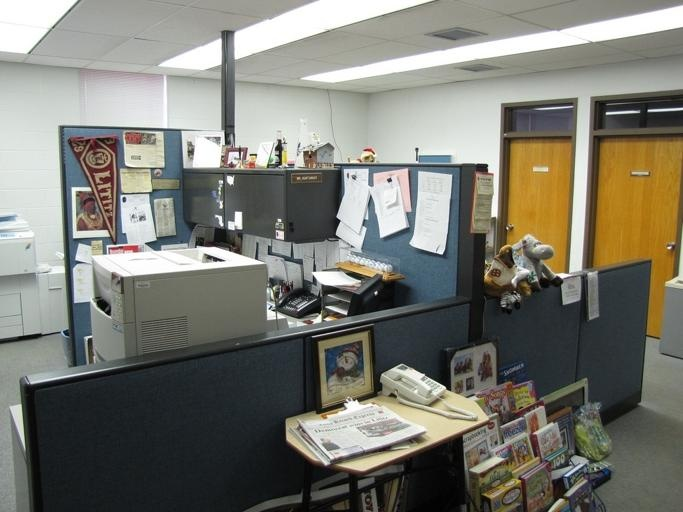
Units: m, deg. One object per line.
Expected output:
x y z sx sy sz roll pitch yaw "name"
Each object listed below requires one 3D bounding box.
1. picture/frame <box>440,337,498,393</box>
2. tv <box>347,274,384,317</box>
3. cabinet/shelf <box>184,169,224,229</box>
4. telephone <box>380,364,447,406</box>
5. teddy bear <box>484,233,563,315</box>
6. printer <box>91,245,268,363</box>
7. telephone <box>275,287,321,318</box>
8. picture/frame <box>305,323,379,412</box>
0.617 0.528 2.537 0.286 0.219 0.057 -4 5 -33 "picture/frame"
0.132 0.205 2.751 0.196 0.196 0.106 -12 14 -41 "tv"
-0.964 -0.422 3.673 0.219 0.303 0.423 -3 6 -32 "cabinet/shelf"
0.301 0.526 2.208 0.193 0.079 0.145 10 13 35 "telephone"
0.968 0.088 2.743 0.554 0.378 0.202 -5 11 -17 "teddy bear"
-0.667 0.173 2.175 0.536 0.342 0.526 -2 8 -26 "printer"
-0.247 0.293 3.216 0.180 0.081 0.190 -24 21 -29 "telephone"
-0.007 0.469 2.176 0.337 0.344 0.023 -4 2 -29 "picture/frame"
